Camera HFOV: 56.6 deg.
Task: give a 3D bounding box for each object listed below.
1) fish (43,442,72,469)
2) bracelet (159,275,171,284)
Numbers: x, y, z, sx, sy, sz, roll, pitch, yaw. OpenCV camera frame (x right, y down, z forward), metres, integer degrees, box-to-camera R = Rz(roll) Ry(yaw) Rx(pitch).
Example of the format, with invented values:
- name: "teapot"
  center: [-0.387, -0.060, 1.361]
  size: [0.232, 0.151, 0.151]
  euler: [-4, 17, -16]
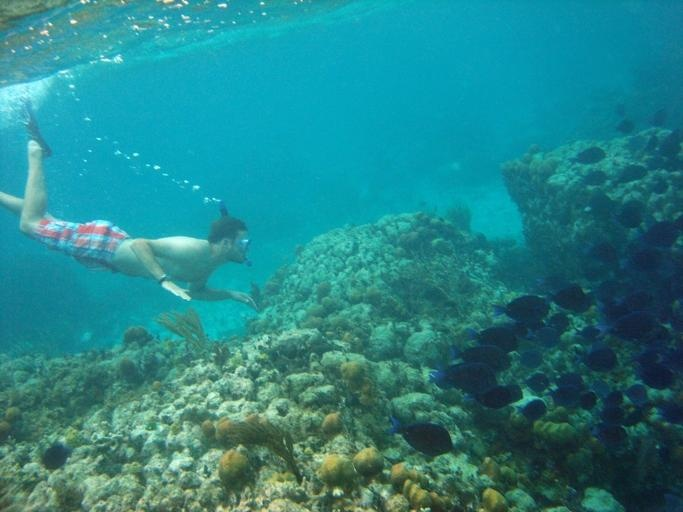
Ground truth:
- name: "fish"
  center: [-8.637, 5.966, 19.156]
  size: [0.682, 0.367, 0.854]
  euler: [8, 51, -10]
- name: "bracelet"
  center: [-5.485, 0.688, 19.824]
  size: [0.240, 0.243, 0.340]
  euler: [-2, 22, 35]
